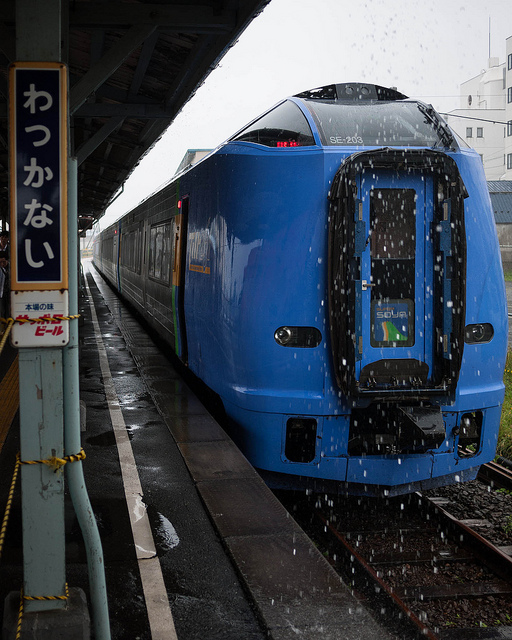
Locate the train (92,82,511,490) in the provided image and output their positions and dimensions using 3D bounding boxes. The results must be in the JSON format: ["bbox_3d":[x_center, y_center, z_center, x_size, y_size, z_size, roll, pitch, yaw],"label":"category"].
[{"bbox_3d":[0.318,-0.477,5.569,1.932,3.431,3.678,-3,4,-26],"label":"train"}]

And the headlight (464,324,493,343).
[{"bbox_3d":[1.758,0.094,4.450,0.159,0.198,0.042,3,3,-18],"label":"headlight"}]
